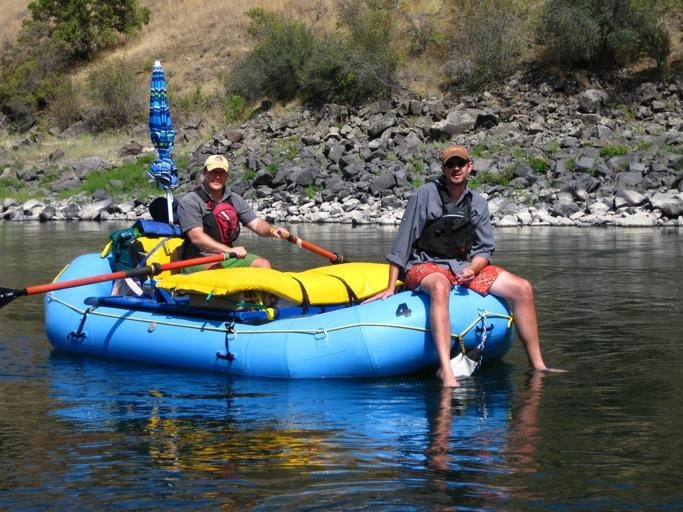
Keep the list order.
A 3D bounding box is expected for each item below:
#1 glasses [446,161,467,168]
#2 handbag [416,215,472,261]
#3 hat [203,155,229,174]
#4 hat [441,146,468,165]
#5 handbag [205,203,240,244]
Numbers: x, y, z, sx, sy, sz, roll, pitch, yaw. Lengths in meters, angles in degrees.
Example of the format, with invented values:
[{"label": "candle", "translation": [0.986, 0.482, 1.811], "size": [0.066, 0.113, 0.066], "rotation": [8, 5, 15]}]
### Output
[{"label": "glasses", "translation": [1.347, -1.055, 12.900], "size": [0.234, 0.092, 0.050], "rotation": [-4, 6, 2]}, {"label": "handbag", "translation": [1.163, -0.255, 13.172], "size": [0.816, 0.479, 0.528], "rotation": [-4, 3, -17]}, {"label": "hat", "translation": [-1.586, -1.137, 14.015], "size": [0.318, 0.226, 0.250], "rotation": [-4, 5, 4]}, {"label": "hat", "translation": [1.329, -1.171, 12.962], "size": [0.311, 0.201, 0.234], "rotation": [-4, 5, 3]}, {"label": "handbag", "translation": [-1.518, -0.406, 14.052], "size": [0.362, 0.566, 0.507], "rotation": [-2, 8, 31]}]
